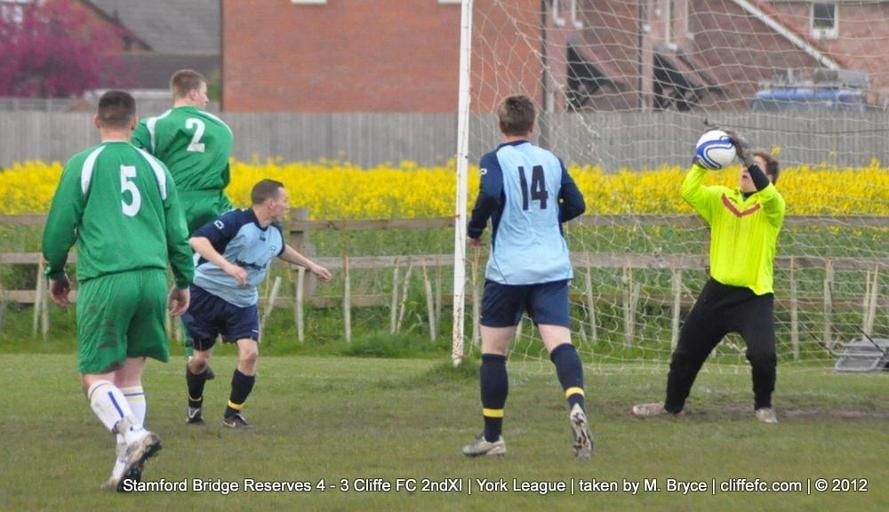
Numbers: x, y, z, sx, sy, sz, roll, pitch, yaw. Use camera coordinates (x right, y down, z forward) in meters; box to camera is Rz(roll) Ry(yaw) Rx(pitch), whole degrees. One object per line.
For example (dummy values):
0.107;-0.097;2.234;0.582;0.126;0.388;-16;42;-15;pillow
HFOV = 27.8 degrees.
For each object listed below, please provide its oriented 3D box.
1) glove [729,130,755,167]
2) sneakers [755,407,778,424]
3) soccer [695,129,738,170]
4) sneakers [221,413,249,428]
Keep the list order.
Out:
4.874;-1.834;29.234;0.238;0.569;0.305;-36;-27;-15;glove
5.273;2.564;29.346;0.365;0.231;0.176;0;1;9;sneakers
4.543;-1.728;29.516;0.712;0.648;0.687;-5;6;-12;soccer
-3.430;2.661;29.273;0.381;0.151;0.198;1;1;12;sneakers
